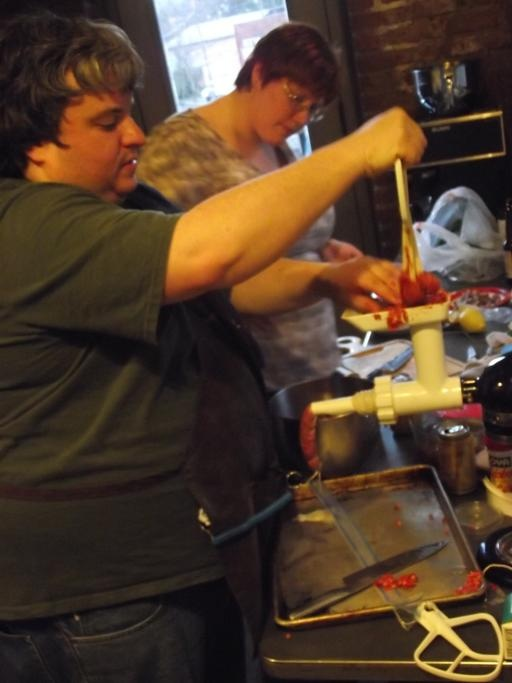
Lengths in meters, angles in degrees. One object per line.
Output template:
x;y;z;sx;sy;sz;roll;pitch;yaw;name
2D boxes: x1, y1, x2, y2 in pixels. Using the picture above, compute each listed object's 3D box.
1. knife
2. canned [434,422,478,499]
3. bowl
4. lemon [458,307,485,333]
0.156;0.320;0.931;0.202;0.009;0.031;-16;28;-8;knife
0.319;0.181;1.089;0.082;0.100;0.054;-27;16;-32;canned
0.107;0.138;1.164;0.167;0.120;0.188;-7;-4;2;bowl
0.567;-0.051;1.830;0.055;0.048;0.076;-9;-25;36;lemon
